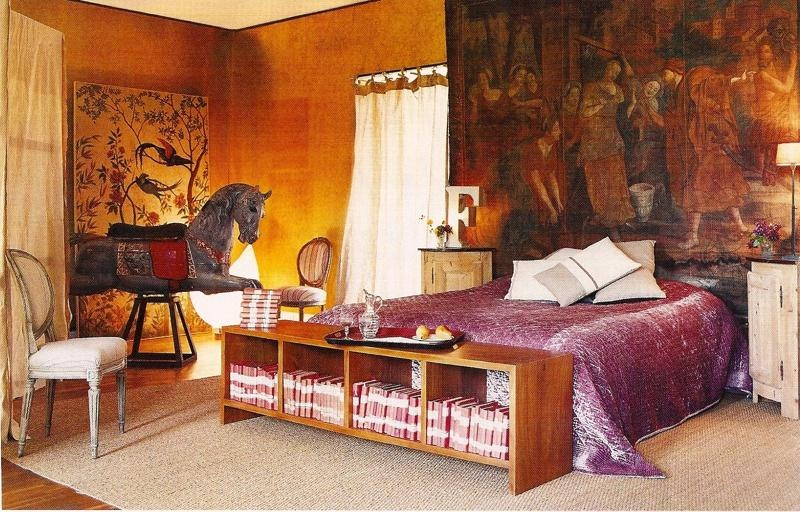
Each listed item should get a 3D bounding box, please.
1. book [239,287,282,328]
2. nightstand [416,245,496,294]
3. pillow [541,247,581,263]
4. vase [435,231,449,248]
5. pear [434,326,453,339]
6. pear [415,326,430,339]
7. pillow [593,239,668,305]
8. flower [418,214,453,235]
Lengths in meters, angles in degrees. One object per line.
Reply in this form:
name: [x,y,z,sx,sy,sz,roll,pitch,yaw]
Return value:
book: [-1.086,0.394,4.688,0.320,0.191,0.307,1,3,1]
nightstand: [0.628,0.146,6.632,0.900,0.787,0.478,-1,-4,10]
pillow: [1.579,-0.017,5.867,0.212,0.049,0.215,-11,2,-29]
vase: [0.482,-0.174,6.675,0.234,0.207,0.148,0,-3,13]
pear: [0.297,0.516,4.107,0.100,0.056,0.075,7,-3,43]
pear: [0.153,0.514,4.103,0.071,0.071,0.090,-16,-1,8]
pillow: [1.987,0.148,5.211,0.595,0.152,0.563,-10,43,15]
flower: [0.403,-0.359,6.768,0.328,0.148,0.183,15,13,29]
